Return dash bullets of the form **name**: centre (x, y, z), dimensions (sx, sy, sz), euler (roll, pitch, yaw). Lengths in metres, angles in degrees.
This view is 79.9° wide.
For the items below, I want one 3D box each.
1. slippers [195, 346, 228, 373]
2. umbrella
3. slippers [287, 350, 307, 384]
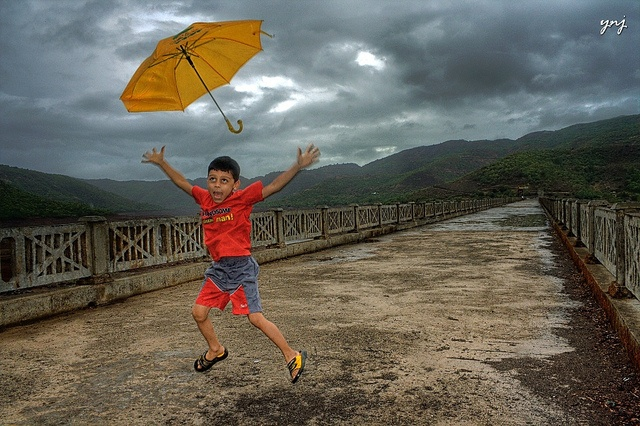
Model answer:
- **slippers**: centre (-1.305, 1.767, 4.650), dimensions (0.415, 0.126, 0.211), euler (-32, 29, 7)
- **umbrella**: centre (-1.776, -2.083, 5.517), dimensions (1.887, 1.233, 0.873), euler (-3, 5, -26)
- **slippers**: centre (-0.241, 1.665, 4.307), dimensions (0.194, 0.391, 0.152), euler (10, -12, -2)
